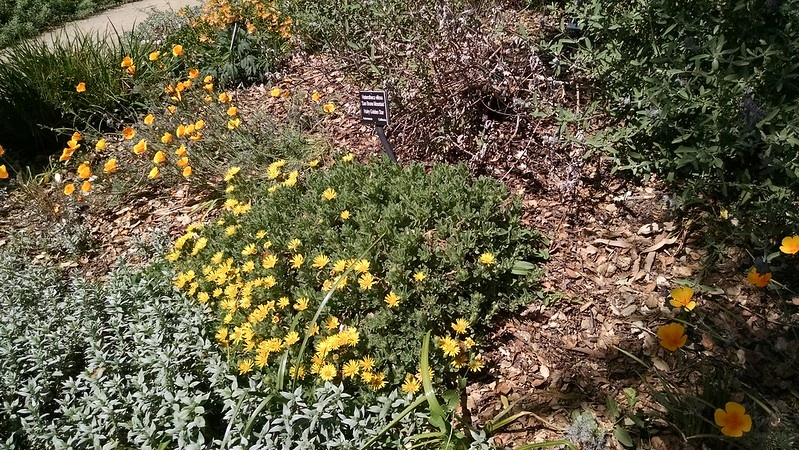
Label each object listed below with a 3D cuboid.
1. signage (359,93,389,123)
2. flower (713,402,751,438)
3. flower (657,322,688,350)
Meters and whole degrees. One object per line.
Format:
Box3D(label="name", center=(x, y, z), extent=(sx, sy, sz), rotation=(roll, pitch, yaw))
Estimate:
Box3D(label="signage", center=(-0.244, -1.145, 5.041), extent=(0.338, 0.297, 0.061), rotation=(8, 23, 34))
Box3D(label="flower", center=(2.373, 1.390, 3.712), extent=(0.221, 0.158, 0.197), rotation=(-28, 51, -3))
Box3D(label="flower", center=(2.071, 0.872, 3.945), extent=(0.244, 0.108, 0.208), rotation=(-17, 41, 61))
